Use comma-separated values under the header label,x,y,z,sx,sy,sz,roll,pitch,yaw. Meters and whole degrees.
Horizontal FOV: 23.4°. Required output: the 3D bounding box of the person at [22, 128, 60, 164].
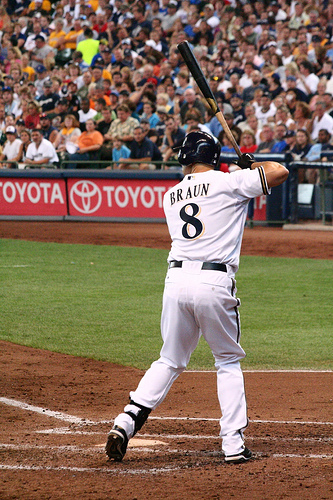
label,x,y,z,sx,sy,sz,roll,pitch,yaw
person,-2.438,-1.924,15.308,0.746,0.553,0.741,2,5,33

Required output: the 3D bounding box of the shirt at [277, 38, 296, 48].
label,x,y,z,sx,sy,sz,roll,pitch,yaw
shirt,2.514,-4.370,17.077,0.302,0.209,0.666,-2,9,-15

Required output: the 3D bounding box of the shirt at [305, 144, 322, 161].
label,x,y,z,sx,sy,sz,roll,pitch,yaw
shirt,2.629,-1.723,14.430,0.238,0.309,0.100,11,-18,47

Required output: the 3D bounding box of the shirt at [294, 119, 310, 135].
label,x,y,z,sx,sy,sz,roll,pitch,yaw
shirt,2.427,-2.227,14.600,0.250,0.224,0.090,9,10,10

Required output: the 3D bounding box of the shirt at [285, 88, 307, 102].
label,x,y,z,sx,sy,sz,roll,pitch,yaw
shirt,2.465,-2.937,15.347,0.457,0.249,0.341,0,9,-7

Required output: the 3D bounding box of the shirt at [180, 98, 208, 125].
label,x,y,z,sx,sy,sz,roll,pitch,yaw
shirt,0.560,-2.711,15.872,0.639,0.518,0.536,-2,10,-13

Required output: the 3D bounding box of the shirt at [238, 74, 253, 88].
label,x,y,z,sx,sy,sz,roll,pitch,yaw
shirt,1.664,-3.490,16.837,0.247,0.260,0.316,-1,-8,11

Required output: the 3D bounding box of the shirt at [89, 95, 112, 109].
label,x,y,z,sx,sy,sz,roll,pitch,yaw
shirt,-1.343,-3.007,16.453,0.417,0.297,1.029,0,9,-5

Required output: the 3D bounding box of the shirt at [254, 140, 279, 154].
label,x,y,z,sx,sy,sz,roll,pitch,yaw
shirt,1.796,-1.863,14.538,0.355,0.118,0.263,-19,-11,28

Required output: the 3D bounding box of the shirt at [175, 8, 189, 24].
label,x,y,z,sx,sy,sz,roll,pitch,yaw
shirt,0.380,-5.645,19.520,0.305,0.475,0.875,0,9,-5

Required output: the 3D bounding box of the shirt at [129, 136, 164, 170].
label,x,y,z,sx,sy,sz,roll,pitch,yaw
shirt,-0.383,-1.820,14.625,0.590,0.421,0.402,0,10,-2

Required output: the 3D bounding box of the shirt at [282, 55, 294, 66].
label,x,y,z,sx,sy,sz,roll,pitch,yaw
shirt,2.472,-3.880,16.543,0.238,0.223,0.336,2,9,7

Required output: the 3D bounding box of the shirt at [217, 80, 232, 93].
label,x,y,z,sx,sy,sz,roll,pitch,yaw
shirt,1.232,-3.407,16.843,0.362,0.273,0.372,-6,11,-34

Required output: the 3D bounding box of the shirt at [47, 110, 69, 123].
label,x,y,z,sx,sy,sz,roll,pitch,yaw
shirt,-2.303,-2.859,17.183,0.504,0.115,0.489,-15,27,-25

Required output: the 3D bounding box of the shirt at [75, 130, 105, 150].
label,x,y,z,sx,sy,sz,roll,pitch,yaw
shirt,-1.424,-2.039,15.080,0.460,0.310,0.267,4,10,21

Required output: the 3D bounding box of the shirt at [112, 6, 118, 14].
label,x,y,z,sx,sy,sz,roll,pitch,yaw
shirt,-1.325,-6.179,20.821,0.110,0.213,0.288,-2,10,-12

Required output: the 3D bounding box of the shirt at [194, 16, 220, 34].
label,x,y,z,sx,sy,sz,roll,pitch,yaw
shirt,0.956,-5.206,18.769,0.434,0.503,0.358,11,-22,30

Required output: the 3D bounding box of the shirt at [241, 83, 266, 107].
label,x,y,z,sx,sy,sz,roll,pitch,yaw
shirt,1.717,-3.077,16.126,0.470,0.479,0.674,1,9,4

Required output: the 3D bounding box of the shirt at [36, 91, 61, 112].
label,x,y,z,sx,sy,sz,roll,pitch,yaw
shirt,-2.586,-3.251,17.849,0.465,0.431,0.651,-1,9,-9

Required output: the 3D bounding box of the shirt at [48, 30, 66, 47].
label,x,y,z,sx,sy,sz,roll,pitch,yaw
shirt,-2.895,-5.595,21.456,0.449,0.489,1.003,-1,9,-9

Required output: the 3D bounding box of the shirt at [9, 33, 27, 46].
label,x,y,z,sx,sy,sz,roll,pitch,yaw
shirt,-4.205,-5.914,22.633,0.468,0.401,0.143,2,-29,10

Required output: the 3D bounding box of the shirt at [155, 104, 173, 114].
label,x,y,z,sx,sy,sz,roll,pitch,yaw
shirt,-0.032,-2.775,15.910,0.279,0.287,0.342,0,12,-4

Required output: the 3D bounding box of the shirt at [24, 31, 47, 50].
label,x,y,z,sx,sy,sz,roll,pitch,yaw
shirt,-3.618,-5.651,22.163,0.533,0.662,0.276,-3,-21,38

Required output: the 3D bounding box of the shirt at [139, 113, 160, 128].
label,x,y,z,sx,sy,sz,roll,pitch,yaw
shirt,-0.294,-2.488,15.592,0.320,0.284,0.768,-1,9,-9

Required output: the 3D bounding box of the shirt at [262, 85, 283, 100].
label,x,y,z,sx,sy,sz,roll,pitch,yaw
shirt,2.043,-3.010,15.537,0.380,0.332,0.132,4,-21,12

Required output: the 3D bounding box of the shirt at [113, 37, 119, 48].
label,x,y,z,sx,sy,sz,roll,pitch,yaw
shirt,-1.226,-5.054,19.771,0.192,0.112,0.529,1,28,-7

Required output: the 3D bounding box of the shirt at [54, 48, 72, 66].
label,x,y,z,sx,sy,sz,roll,pitch,yaw
shirt,-2.578,-4.855,20.331,0.418,0.459,0.675,-1,9,-6

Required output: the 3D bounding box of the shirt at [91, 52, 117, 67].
label,x,y,z,sx,sy,sz,roll,pitch,yaw
shirt,-1.477,-4.489,19.002,0.578,0.206,0.404,1,17,36

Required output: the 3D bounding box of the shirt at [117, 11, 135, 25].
label,x,y,z,sx,sy,sz,roll,pitch,yaw
shirt,-1.028,-5.866,20.359,0.358,0.086,0.354,-22,31,28

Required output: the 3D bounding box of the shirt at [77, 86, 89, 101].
label,x,y,z,sx,sy,sz,roll,pitch,yaw
shirt,-1.791,-3.369,17.286,0.223,0.229,0.317,-1,9,-9

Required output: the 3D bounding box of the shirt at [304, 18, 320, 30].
label,x,y,z,sx,sy,sz,roll,pitch,yaw
shirt,3.047,-4.784,17.098,0.213,0.286,0.613,0,9,-5

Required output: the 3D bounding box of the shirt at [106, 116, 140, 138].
label,x,y,z,sx,sy,sz,roll,pitch,yaw
shirt,-0.794,-2.253,14.918,0.556,0.387,0.289,4,-1,33

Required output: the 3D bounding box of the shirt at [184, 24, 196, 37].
label,x,y,z,sx,sy,sz,roll,pitch,yaw
shirt,0.534,-5.141,18.951,0.200,0.326,0.479,-1,9,-10

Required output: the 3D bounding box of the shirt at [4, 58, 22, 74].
label,x,y,z,sx,sy,sz,roll,pitch,yaw
shirt,-3.901,-4.668,20.610,0.409,0.377,1.460,-1,9,-12

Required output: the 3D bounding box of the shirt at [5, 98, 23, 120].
label,x,y,z,sx,sy,sz,roll,pitch,yaw
shirt,-3.427,-3.188,18.160,0.351,0.464,1.623,-1,9,-11

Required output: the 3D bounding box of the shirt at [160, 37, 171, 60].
label,x,y,z,sx,sy,sz,roll,pitch,yaw
shirt,-0.017,-4.781,19.139,0.208,0.541,0.417,-15,-8,-8

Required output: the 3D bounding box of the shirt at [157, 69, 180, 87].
label,x,y,z,sx,sy,sz,roll,pitch,yaw
shirt,0.132,-3.728,17.671,0.439,0.530,0.181,0,8,6

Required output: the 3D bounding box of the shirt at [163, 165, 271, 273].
label,x,y,z,sx,sy,sz,roll,pitch,yaw
shirt,0.281,-0.130,4.336,0.579,0.668,0.481,4,12,27

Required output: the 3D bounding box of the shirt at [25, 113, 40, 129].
label,x,y,z,sx,sy,sz,roll,pitch,yaw
shirt,-2.767,-2.661,16.738,0.305,0.359,0.152,2,-13,12

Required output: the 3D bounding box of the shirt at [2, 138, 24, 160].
label,x,y,z,sx,sy,sz,roll,pitch,yaw
shirt,-3.013,-1.975,15.981,0.218,0.400,0.531,23,-17,-36

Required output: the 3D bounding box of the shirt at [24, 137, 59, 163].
label,x,y,z,sx,sy,sz,roll,pitch,yaw
shirt,-2.346,-1.844,15.458,0.755,0.571,0.463,2,10,21

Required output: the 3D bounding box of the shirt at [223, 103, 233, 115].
label,x,y,z,sx,sy,sz,roll,pitch,yaw
shirt,1.183,-2.720,15.636,0.094,0.205,0.243,-6,-39,4

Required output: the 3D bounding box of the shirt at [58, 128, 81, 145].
label,x,y,z,sx,sy,sz,roll,pitch,yaw
shirt,-1.826,-2.164,15.443,0.437,0.376,0.246,3,-6,40

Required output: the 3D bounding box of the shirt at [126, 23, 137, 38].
label,x,y,z,sx,sy,sz,roll,pitch,yaw
shirt,-0.844,-5.340,19.688,0.252,0.397,0.546,0,9,-2

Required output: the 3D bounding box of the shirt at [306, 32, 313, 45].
label,x,y,z,sx,sy,sz,roll,pitch,yaw
shirt,2.951,-4.397,16.781,0.142,0.279,0.456,2,9,9

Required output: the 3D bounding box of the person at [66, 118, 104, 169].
label,x,y,z,sx,sy,sz,roll,pitch,yaw
person,-1.493,-2.037,15.060,0.652,0.757,0.390,0,10,-5

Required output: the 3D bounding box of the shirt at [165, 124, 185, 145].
label,x,y,z,sx,sy,sz,roll,pitch,yaw
shirt,0.236,-2.122,15.054,0.204,0.333,0.391,6,11,29

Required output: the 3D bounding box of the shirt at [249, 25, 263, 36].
label,x,y,z,sx,sy,sz,roll,pitch,yaw
shirt,1.967,-4.832,17.725,0.266,0.211,0.237,4,-35,9

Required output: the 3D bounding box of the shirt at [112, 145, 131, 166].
label,x,y,z,sx,sy,sz,roll,pitch,yaw
shirt,-0.834,-1.731,14.871,0.371,0.432,0.270,1,1,16

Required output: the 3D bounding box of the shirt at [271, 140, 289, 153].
label,x,y,z,sx,sy,sz,roll,pitch,yaw
shirt,2.016,-1.839,14.410,0.306,0.215,0.227,2,10,7
